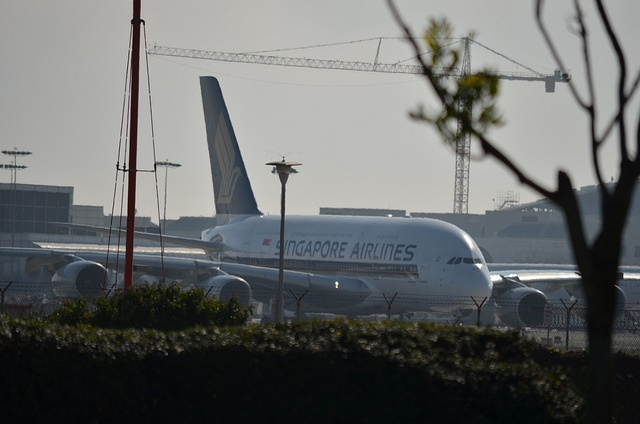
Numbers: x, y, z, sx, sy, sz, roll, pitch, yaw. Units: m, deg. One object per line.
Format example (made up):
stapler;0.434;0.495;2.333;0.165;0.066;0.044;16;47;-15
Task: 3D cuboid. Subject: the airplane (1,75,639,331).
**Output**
airplane;-0.676;1.265;43.764;13.748;4.103;10.654;2;-1;-34
